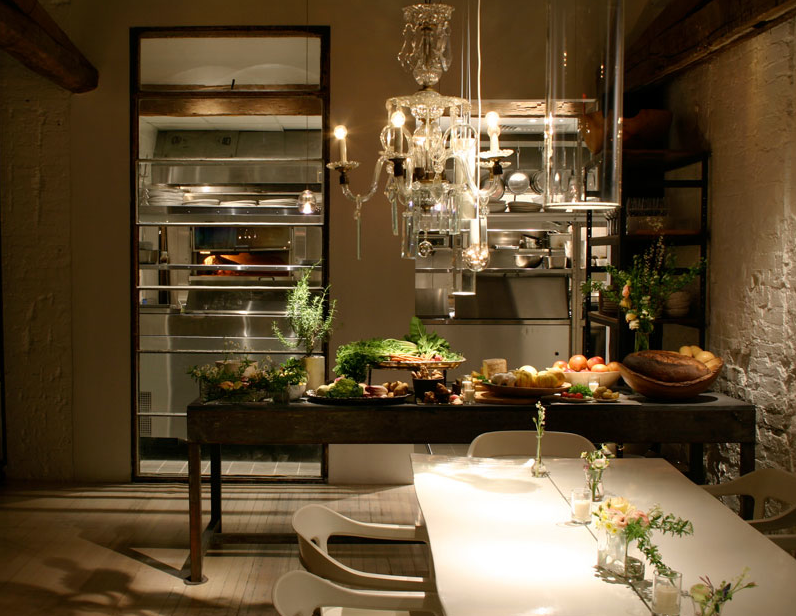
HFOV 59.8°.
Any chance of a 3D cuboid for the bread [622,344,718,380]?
[{"bbox_3d":[1.619,0.321,4.077,0.536,0.146,0.312,-7,14,-23],"label":"bread"}]
